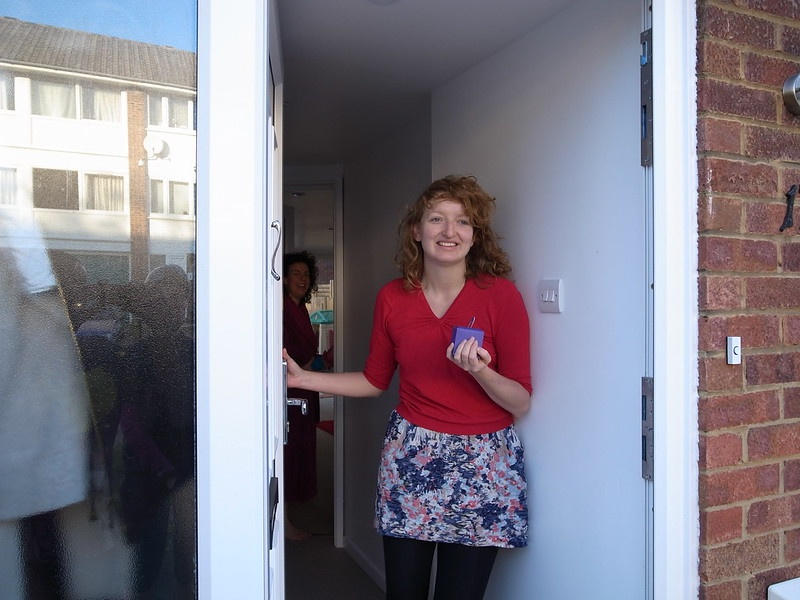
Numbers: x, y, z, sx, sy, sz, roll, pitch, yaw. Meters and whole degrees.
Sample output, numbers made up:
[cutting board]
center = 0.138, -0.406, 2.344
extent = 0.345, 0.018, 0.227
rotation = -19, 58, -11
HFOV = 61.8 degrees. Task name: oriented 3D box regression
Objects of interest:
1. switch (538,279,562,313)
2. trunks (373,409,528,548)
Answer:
[switch]
center = 0.469, -0.011, 2.093
extent = 0.028, 0.089, 0.092
rotation = 4, 1, -29
[trunks]
center = 0.161, 0.484, 2.089
extent = 0.483, 0.485, 0.281
rotation = 5, 32, 10
